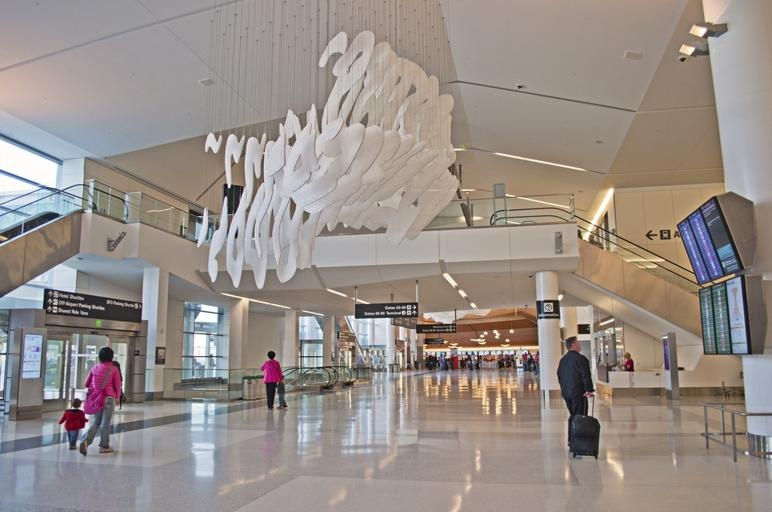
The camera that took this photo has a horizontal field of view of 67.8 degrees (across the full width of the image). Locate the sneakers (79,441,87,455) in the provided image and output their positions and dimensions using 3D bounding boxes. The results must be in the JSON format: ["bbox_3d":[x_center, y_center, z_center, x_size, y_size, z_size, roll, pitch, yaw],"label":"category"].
[{"bbox_3d":[-6.415,4.047,12.140,0.139,0.317,0.203,0,-6,-4],"label":"sneakers"}]

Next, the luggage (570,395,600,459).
[{"bbox_3d":[4.176,3.540,12.006,0.583,1.408,0.534,-3,-29,28],"label":"luggage"}]

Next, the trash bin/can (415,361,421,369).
[{"bbox_3d":[3.365,11.347,59.741,0.691,0.856,0.697,0,1,-32],"label":"trash bin/can"}]

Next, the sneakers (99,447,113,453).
[{"bbox_3d":[-6.011,4.166,12.341,0.268,0.129,0.111,0,-2,-10],"label":"sneakers"}]

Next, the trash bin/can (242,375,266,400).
[{"bbox_3d":[-5.159,5.177,22.524,0.727,1.001,1.340,-2,-6,12],"label":"trash bin/can"}]

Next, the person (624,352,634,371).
[{"bbox_3d":[9.891,4.330,23.508,0.319,0.709,0.773,-7,-15,19],"label":"person"}]
